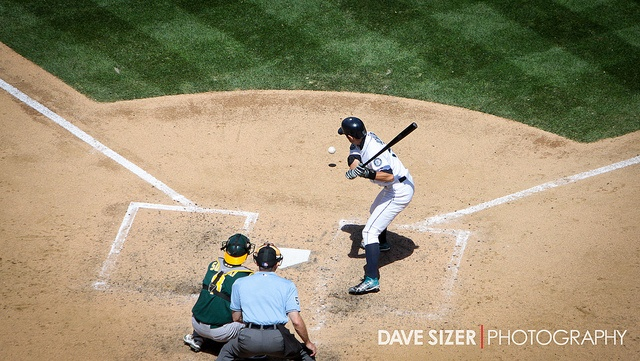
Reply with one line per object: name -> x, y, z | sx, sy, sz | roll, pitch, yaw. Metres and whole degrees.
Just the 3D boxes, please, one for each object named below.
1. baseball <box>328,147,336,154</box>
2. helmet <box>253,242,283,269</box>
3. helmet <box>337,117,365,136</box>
baseball -> 0.289, -0.754, 15.519 | 0.198, 0.181, 0.090 | -5, 94, -19
helmet -> -1.156, 1.706, 13.669 | 0.564, 0.232, 0.550 | 2, 69, -2
helmet -> 0.774, -1.270, 14.701 | 0.631, 0.303, 0.390 | 16, 45, 17
